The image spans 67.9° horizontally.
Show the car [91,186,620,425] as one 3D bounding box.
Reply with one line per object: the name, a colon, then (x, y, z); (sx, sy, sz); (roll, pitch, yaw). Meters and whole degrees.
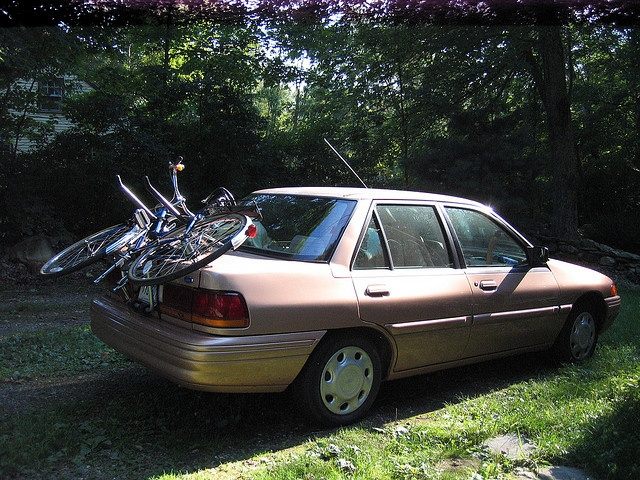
car: (0.593, 0.498, 4.714); (4.684, 2.004, 1.088); (-4, 8, -30)
